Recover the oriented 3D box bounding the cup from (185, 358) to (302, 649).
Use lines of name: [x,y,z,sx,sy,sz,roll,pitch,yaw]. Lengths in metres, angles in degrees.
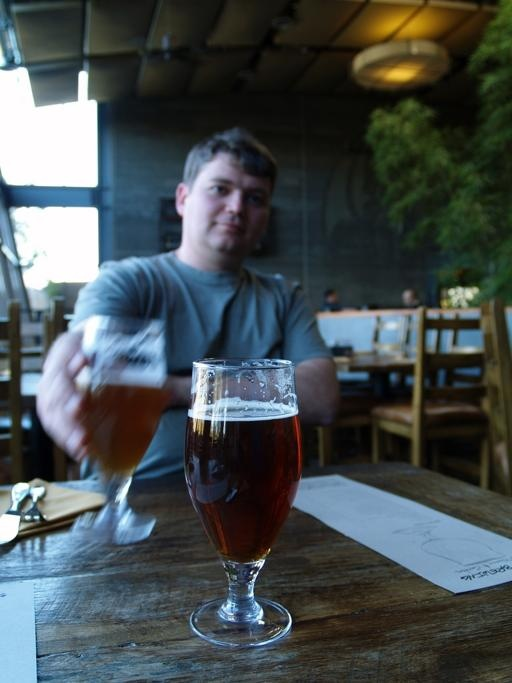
cup: [-0.008,0.102,0.414,0.081,0.175,0.091,-1,6,-7]
